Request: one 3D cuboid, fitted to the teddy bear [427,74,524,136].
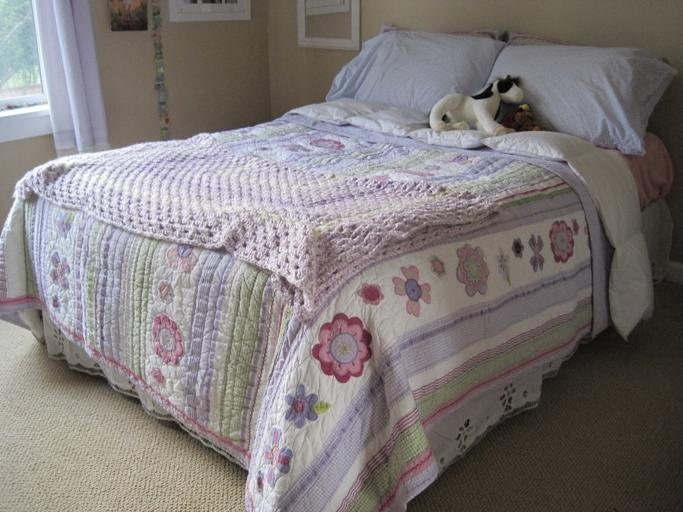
[{"bbox_3d":[0.666,-0.760,2.951,0.450,0.355,0.278,4,-8,12],"label":"teddy bear"}]

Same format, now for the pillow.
[{"bbox_3d":[0.860,-0.826,2.904,1.558,0.710,0.326,14,3,40],"label":"pillow"}]

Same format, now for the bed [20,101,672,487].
[{"bbox_3d":[0.176,-0.017,2.180,1.615,0.748,1.596,-27,37,-37],"label":"bed"}]
